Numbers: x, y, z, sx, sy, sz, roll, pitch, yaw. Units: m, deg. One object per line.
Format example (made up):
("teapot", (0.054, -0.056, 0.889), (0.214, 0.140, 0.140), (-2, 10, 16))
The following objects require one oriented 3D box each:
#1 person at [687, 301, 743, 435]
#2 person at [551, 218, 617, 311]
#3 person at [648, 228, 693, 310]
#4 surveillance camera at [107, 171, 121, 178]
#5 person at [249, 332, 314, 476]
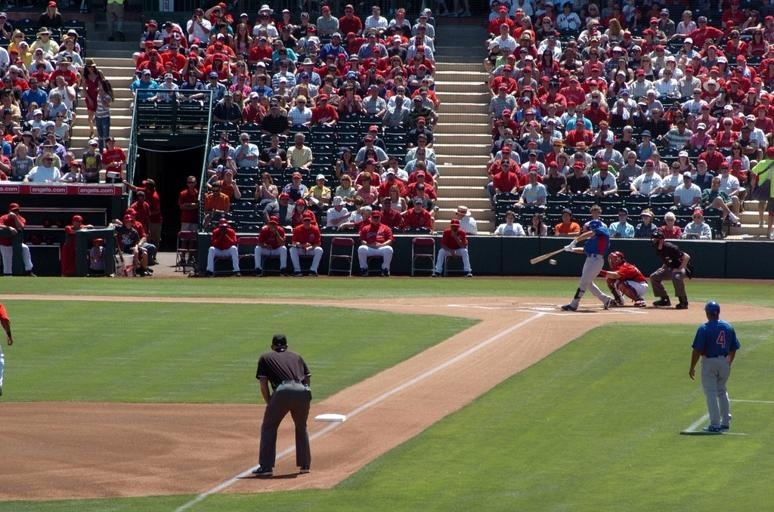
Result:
("person", (7.095, 2.399, 36.840), (1.010, 2.830, 0.890), (-1, 0, 9))
("person", (5.063, 0.005, 43.667), (0.991, 2.793, 1.602), (4, 3, 43))
("person", (7.421, 0.342, 44.347), (1.149, 1.944, 1.251), (-4, 2, -21))
("surveillance camera", (-8.138, -2.426, 50.152), (0.357, 0.163, 0.773), (-1, 0, -8))
("person", (-2.200, 3.070, 35.330), (1.349, 2.861, 1.028), (0, -8, -11))
